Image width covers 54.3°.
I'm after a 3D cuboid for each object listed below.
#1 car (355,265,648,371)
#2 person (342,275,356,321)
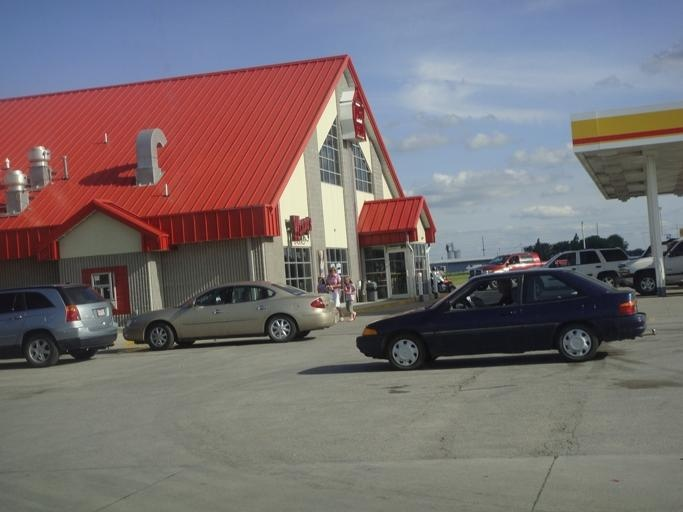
[{"bbox_3d":[3.089,1.192,13.357,4.764,1.694,2.110,-1,-2,12],"label":"car"},{"bbox_3d":[0.345,1.677,26.936,0.367,1.706,1.363,-3,0,1],"label":"person"}]
